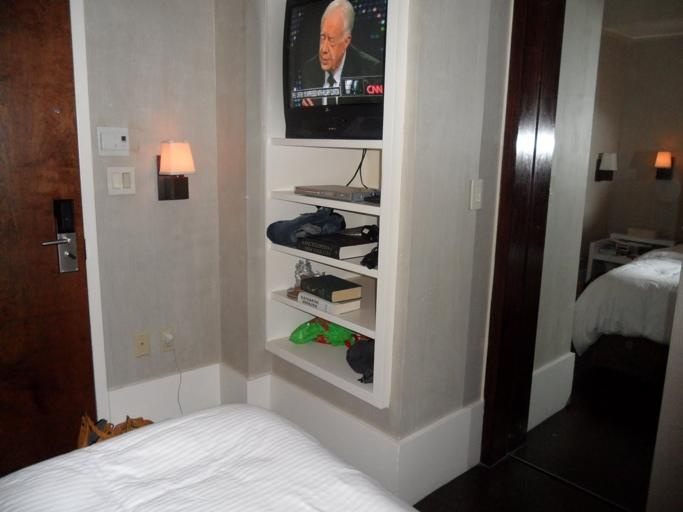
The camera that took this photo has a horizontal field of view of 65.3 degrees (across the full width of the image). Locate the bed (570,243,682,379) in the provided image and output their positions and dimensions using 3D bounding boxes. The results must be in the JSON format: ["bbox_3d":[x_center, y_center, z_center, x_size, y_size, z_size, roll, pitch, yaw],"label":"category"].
[{"bbox_3d":[1.360,0.250,2.486,0.316,0.218,0.505,16,35,39],"label":"bed"}]

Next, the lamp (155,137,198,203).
[{"bbox_3d":[-0.842,-0.431,2.707,0.177,0.302,0.164,-6,14,-26],"label":"lamp"}]
